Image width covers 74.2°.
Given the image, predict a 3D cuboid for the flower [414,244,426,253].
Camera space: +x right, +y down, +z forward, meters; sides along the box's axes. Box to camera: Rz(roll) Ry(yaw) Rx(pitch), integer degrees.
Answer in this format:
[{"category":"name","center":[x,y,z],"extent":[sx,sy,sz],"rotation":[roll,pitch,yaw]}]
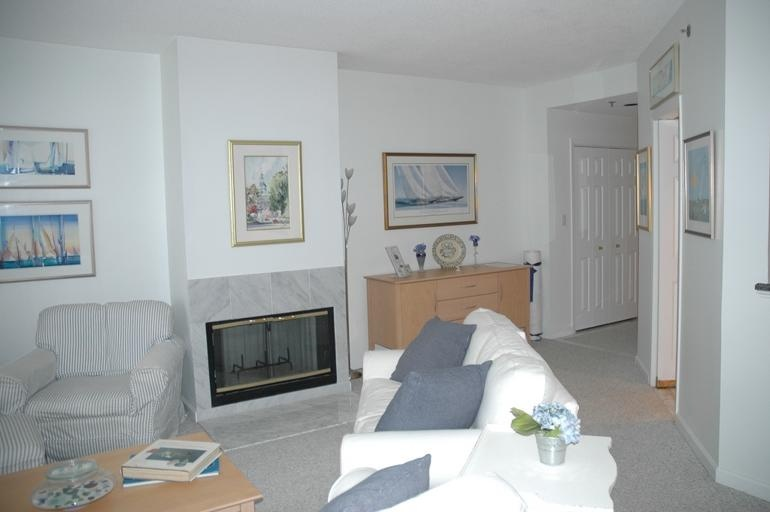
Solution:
[{"category":"flower","center":[0.413,-0.098,6.075],"extent":[0.153,0.121,0.339],"rotation":[-1,10,5]}]

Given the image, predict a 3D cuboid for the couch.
[{"category":"couch","center":[0.363,0.920,3.146],"extent":[1.045,0.844,1.080],"rotation":[-2,4,3]}]

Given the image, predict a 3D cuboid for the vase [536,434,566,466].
[{"category":"vase","center":[0.840,0.997,2.590],"extent":[0.137,0.106,0.133],"rotation":[-4,-8,22]}]

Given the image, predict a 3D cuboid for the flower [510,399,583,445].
[{"category":"flower","center":[0.823,0.851,2.603],"extent":[0.367,0.181,0.260],"rotation":[3,17,24]}]

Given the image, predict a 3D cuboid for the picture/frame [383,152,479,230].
[{"category":"picture/frame","center":[0.500,-0.812,6.196],"extent":[0.970,0.672,0.025],"rotation":[-4,5,-28]}]

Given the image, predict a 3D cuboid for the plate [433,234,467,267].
[{"category":"plate","center":[0.755,-0.065,6.158],"extent":[0.387,0.393,0.091],"rotation":[5,-1,-13]}]
